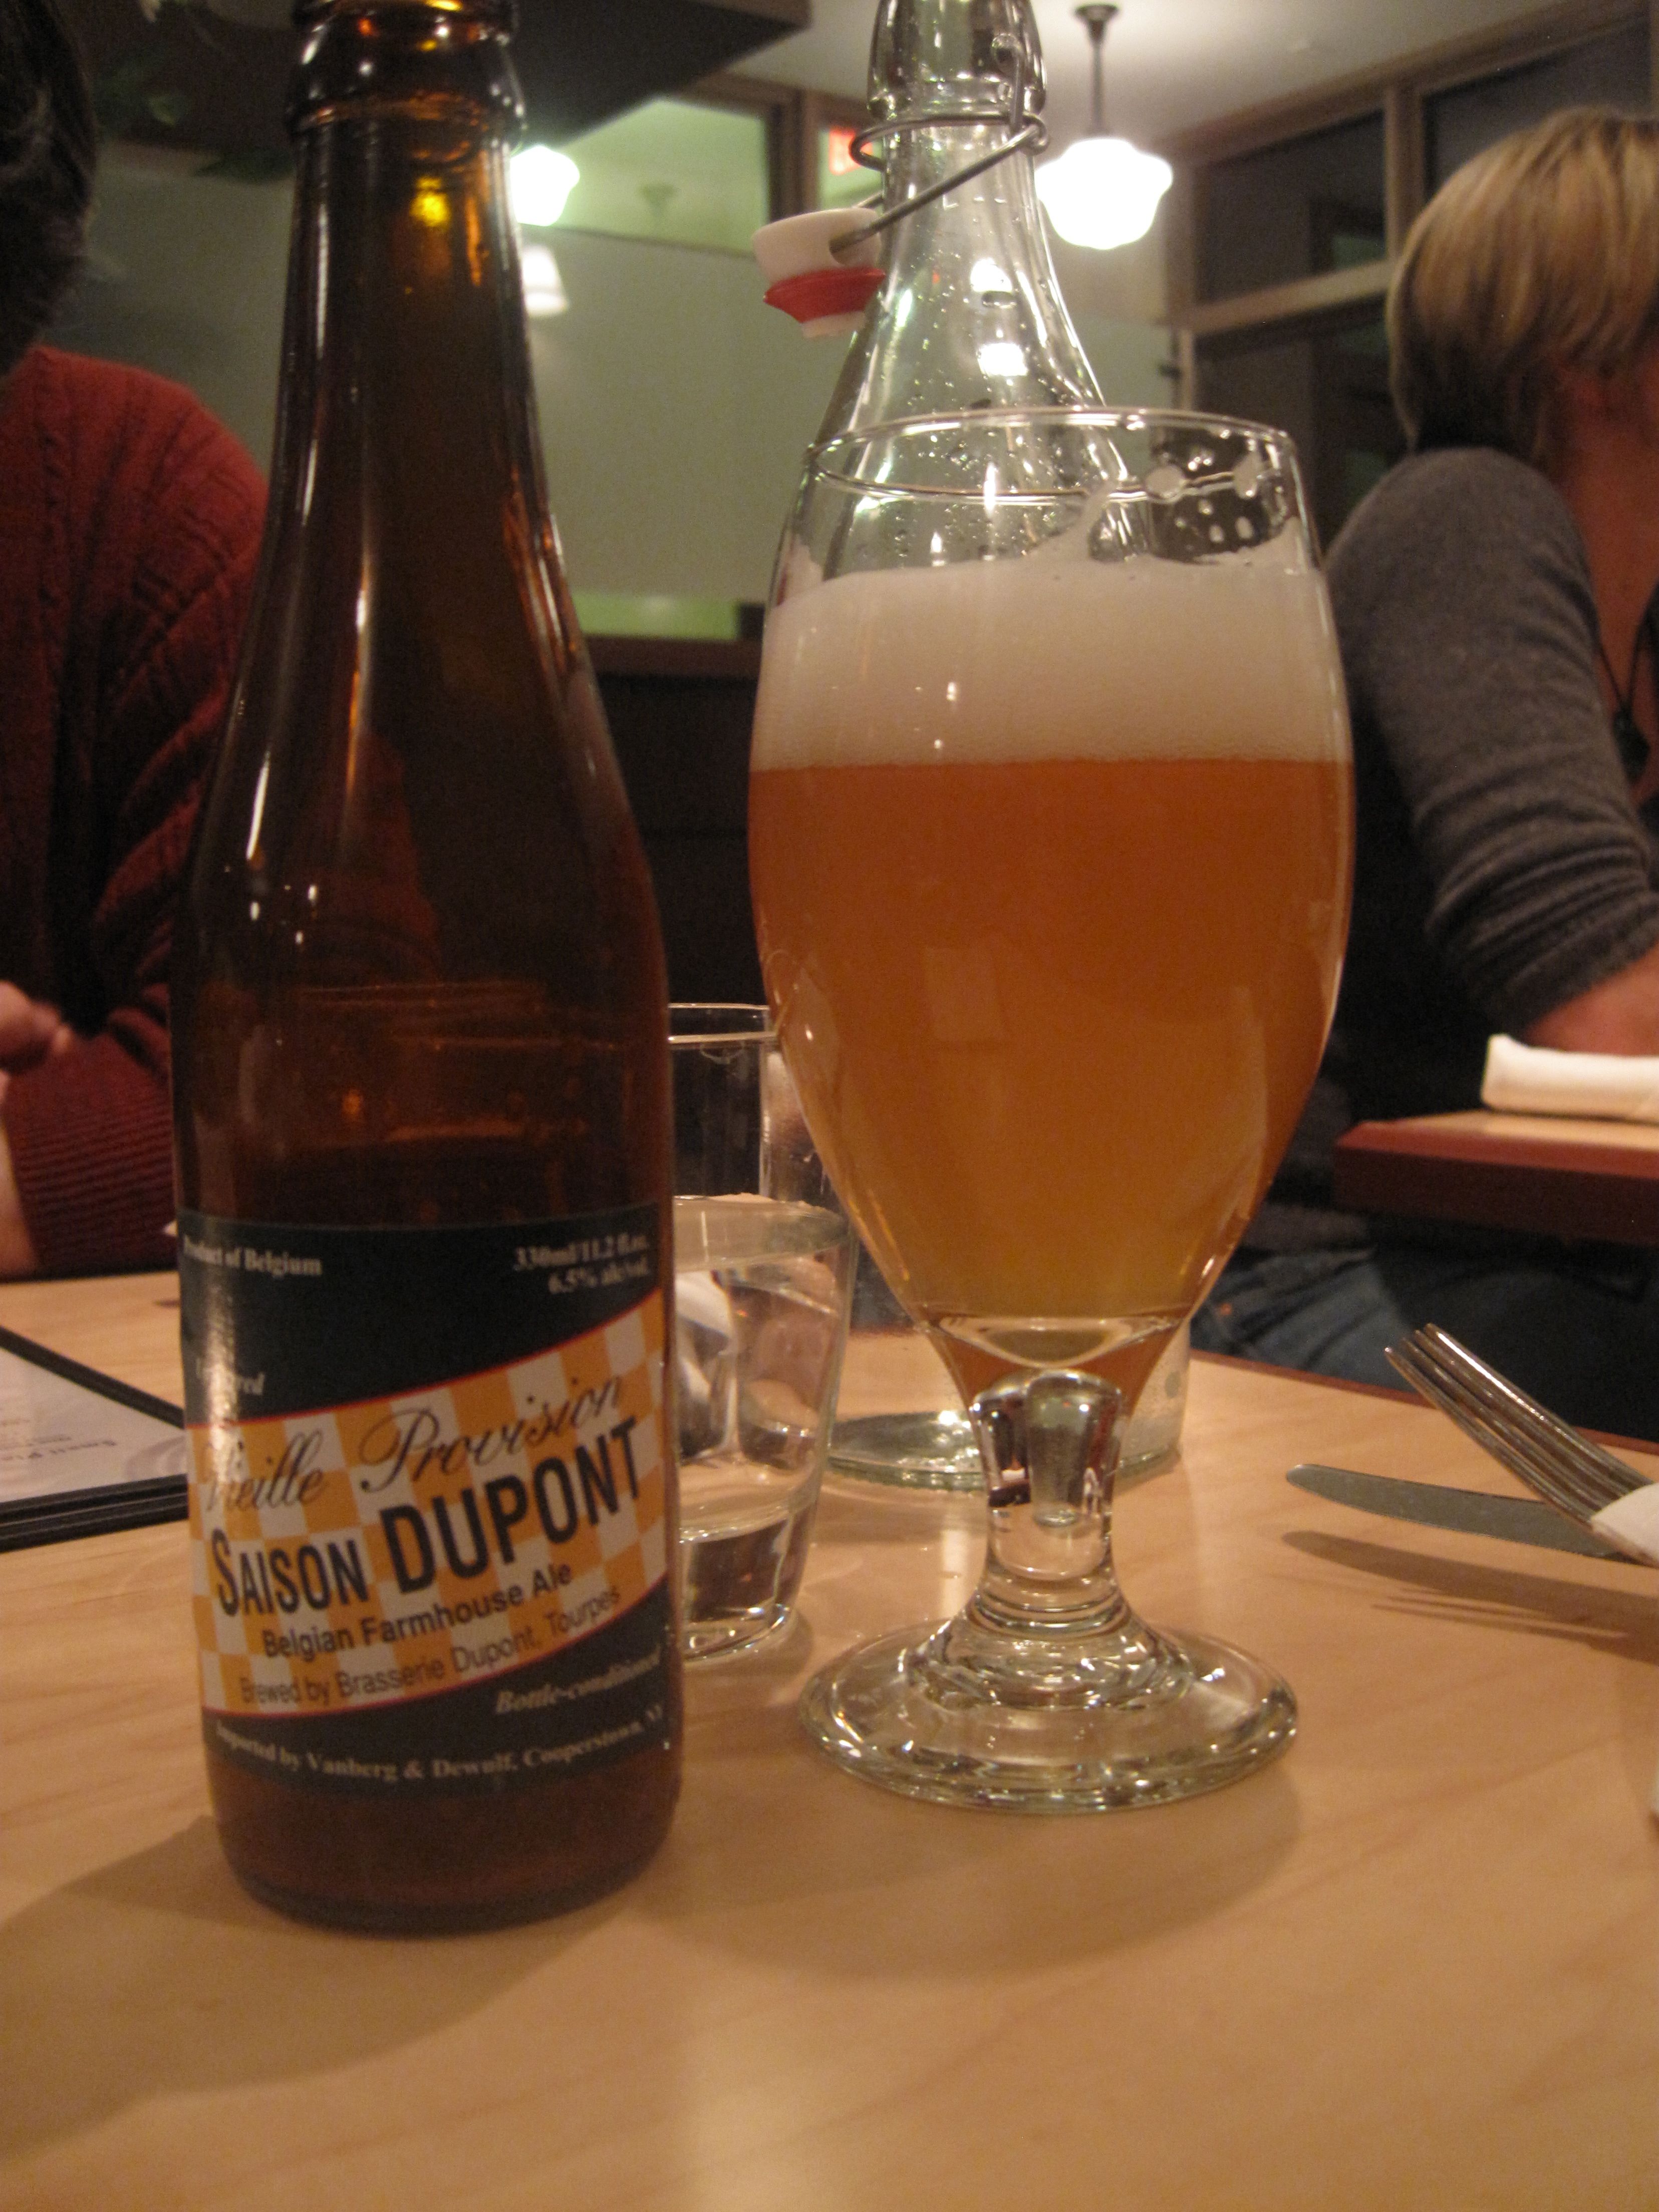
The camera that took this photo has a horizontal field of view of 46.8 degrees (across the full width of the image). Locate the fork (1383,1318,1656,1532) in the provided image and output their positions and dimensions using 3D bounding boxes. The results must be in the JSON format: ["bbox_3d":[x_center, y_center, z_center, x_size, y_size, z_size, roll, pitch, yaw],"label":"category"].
[{"bbox_3d":[0.154,0.065,0.464,0.020,0.019,0.114,-26,18,-4],"label":"fork"}]
